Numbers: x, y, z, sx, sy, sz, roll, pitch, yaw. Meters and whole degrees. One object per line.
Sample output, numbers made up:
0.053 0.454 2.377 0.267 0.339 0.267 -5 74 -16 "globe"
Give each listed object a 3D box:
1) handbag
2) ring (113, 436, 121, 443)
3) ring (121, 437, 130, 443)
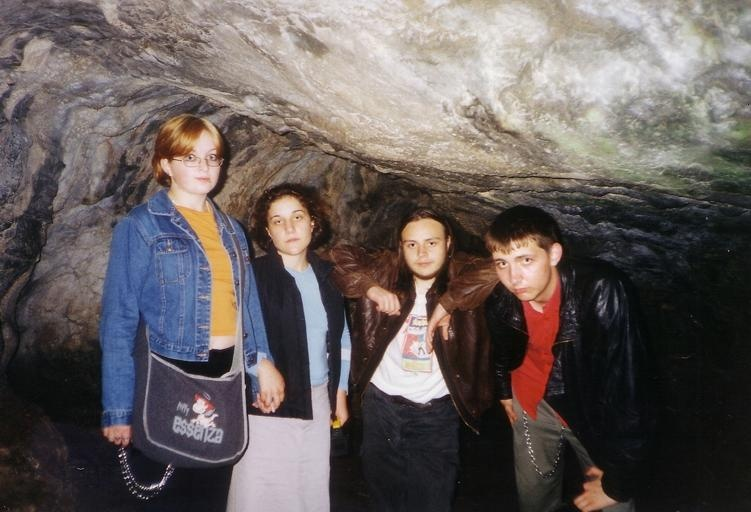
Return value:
-1.070 0.876 3.194 0.677 0.657 0.333 7 -11 -25 "handbag"
-1.437 1.025 3.108 0.042 0.038 0.014 2 20 -3 "ring"
-1.402 1.033 3.129 0.028 0.029 0.022 23 9 -2 "ring"
